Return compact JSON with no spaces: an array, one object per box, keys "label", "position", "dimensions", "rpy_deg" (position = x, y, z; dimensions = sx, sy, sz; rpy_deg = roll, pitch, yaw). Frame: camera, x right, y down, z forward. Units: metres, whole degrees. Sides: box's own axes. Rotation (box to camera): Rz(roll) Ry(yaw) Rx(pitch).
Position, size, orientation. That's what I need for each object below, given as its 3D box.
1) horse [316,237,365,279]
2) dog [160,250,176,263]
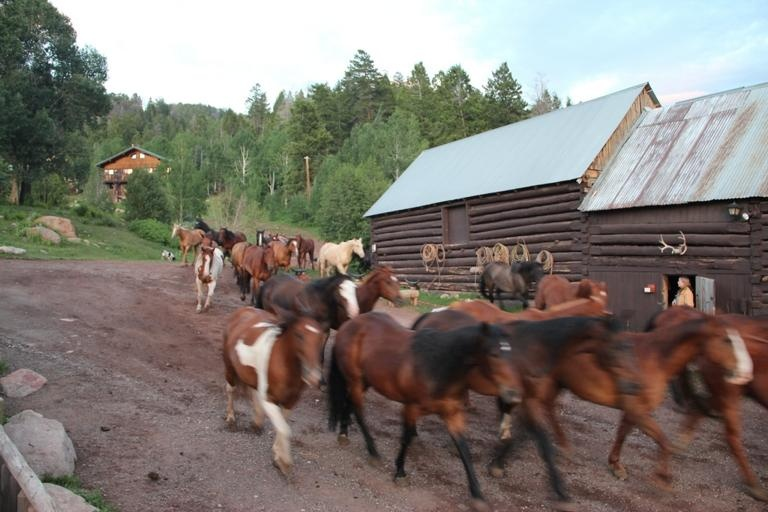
[{"label":"horse","position":[-2.172,0.205,25.005],"dimensions":[2.985,2.205,0.746],"rpy_deg":[7,11,40]},{"label":"dog","position":[-12.144,0.025,29.868],"dimensions":[1.020,0.668,0.285],"rpy_deg":[17,11,20]}]
